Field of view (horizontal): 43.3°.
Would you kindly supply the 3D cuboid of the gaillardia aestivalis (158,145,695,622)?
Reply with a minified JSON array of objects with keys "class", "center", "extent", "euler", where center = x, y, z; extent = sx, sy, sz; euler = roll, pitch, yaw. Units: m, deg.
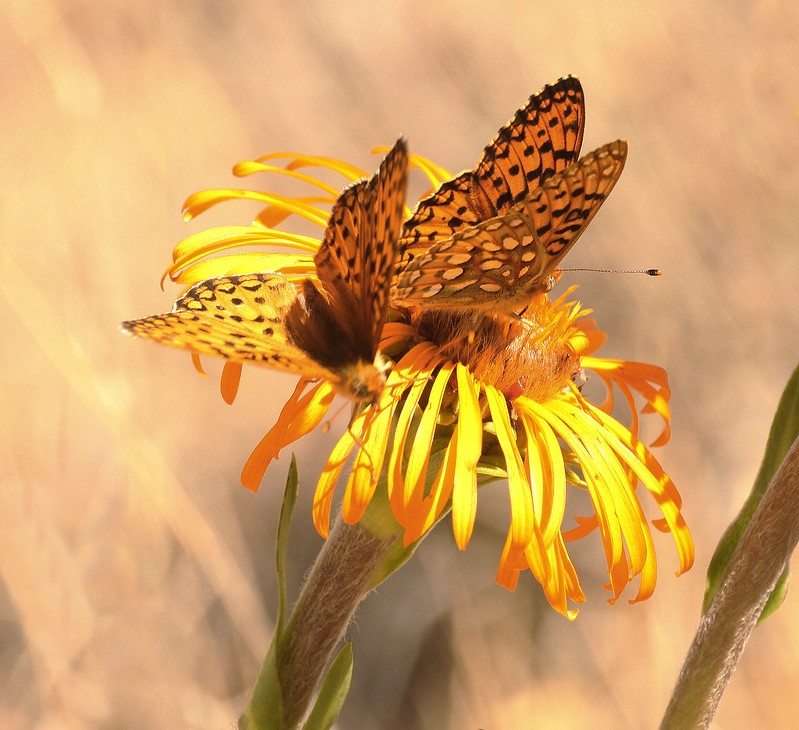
[{"class":"gaillardia aestivalis","center":[0.033,0.086,1.366],"extent":[0.454,0.836,0.628],"euler":[1,6,-1]}]
